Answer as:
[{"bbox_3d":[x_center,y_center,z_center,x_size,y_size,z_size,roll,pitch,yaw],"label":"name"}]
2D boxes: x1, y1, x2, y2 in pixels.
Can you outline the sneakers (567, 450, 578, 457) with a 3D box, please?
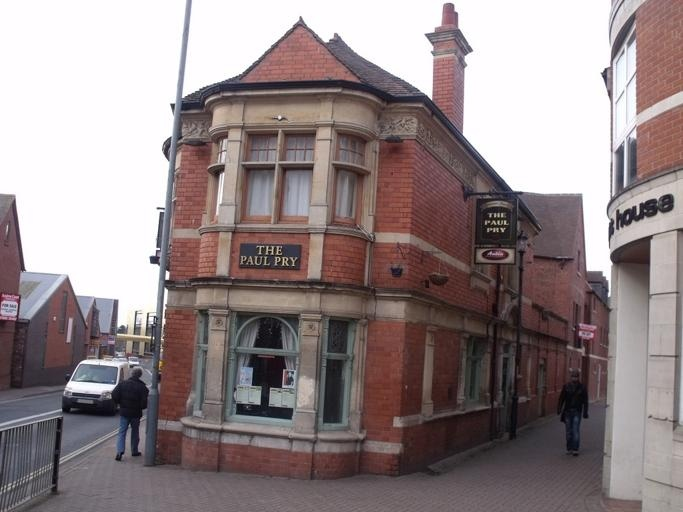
[{"bbox_3d":[6.380,5.427,17.845,0.279,0.132,0.100,-9,-9,30],"label":"sneakers"}]
